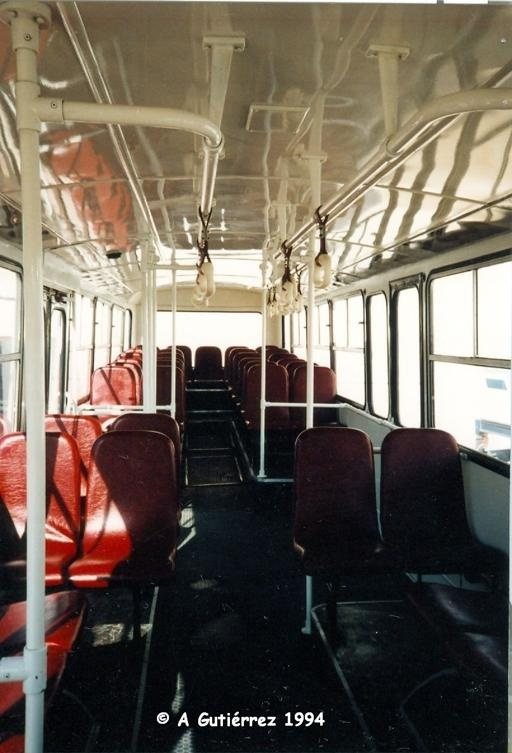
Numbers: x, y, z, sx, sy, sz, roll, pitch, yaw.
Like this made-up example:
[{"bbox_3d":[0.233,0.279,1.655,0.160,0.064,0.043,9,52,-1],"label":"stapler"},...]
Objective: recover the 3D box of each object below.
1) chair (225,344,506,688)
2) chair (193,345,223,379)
[{"bbox_3d":[0.621,0.750,3.673,1.064,1.079,3.136,1,6,-8],"label":"chair"},{"bbox_3d":[-0.916,-0.254,11.044,0.482,0.681,0.619,1,-2,-2],"label":"chair"}]
